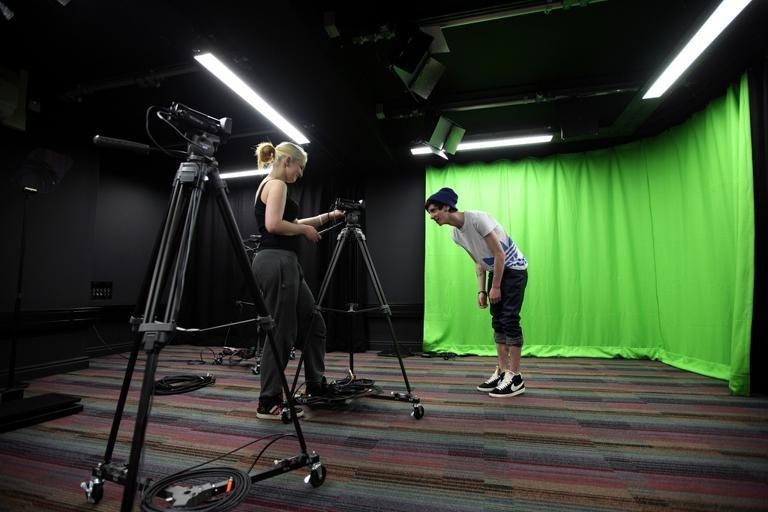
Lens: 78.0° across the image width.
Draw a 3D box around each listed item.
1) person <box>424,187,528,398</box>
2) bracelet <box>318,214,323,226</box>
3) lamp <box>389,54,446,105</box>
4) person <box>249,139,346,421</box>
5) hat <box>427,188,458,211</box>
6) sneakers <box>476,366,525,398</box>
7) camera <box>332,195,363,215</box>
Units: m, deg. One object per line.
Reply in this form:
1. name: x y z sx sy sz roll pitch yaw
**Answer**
1. person: 1.062 0.373 5.044 1.046 2.165 0.641 1 -5 -10
2. bracelet: -0.629 -0.362 4.681 0.023 0.070 0.086 4 12 6
3. lamp: 0.291 -1.971 5.237 0.452 0.357 0.454 -23 -39 -22
4. person: -0.841 0.216 4.437 0.776 2.587 0.706 2 -6 -14
5. hat: 0.624 -0.596 4.964 0.289 0.183 0.217 6 2 5
6. sneakers: 1.282 1.323 4.984 0.362 0.172 0.278 2 -8 -19
7. camera: -0.339 -0.475 4.532 0.271 0.119 0.213 3 0 -21
